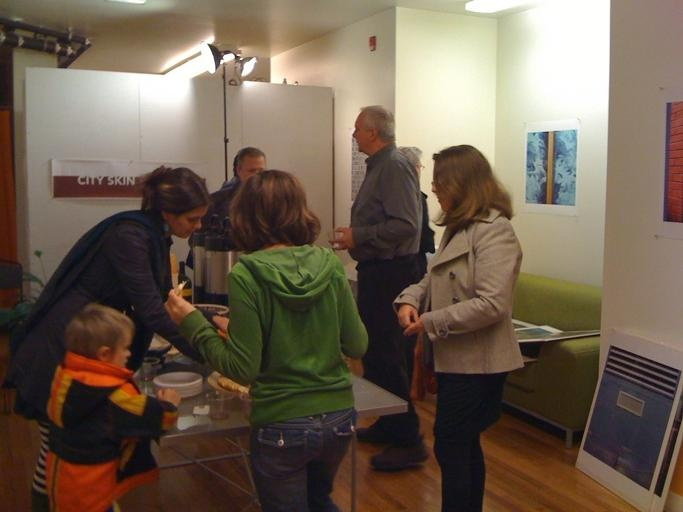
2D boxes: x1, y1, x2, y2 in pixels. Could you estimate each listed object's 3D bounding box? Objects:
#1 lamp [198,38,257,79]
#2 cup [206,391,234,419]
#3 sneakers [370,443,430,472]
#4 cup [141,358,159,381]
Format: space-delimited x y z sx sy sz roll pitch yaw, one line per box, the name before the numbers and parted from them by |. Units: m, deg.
lamp | -1.194 -1.935 5.553 0.353 0.381 0.612 22 22 28
cup | -0.472 0.585 2.149 0.065 0.052 0.068 0 12 0
sneakers | 0.371 1.239 3.461 0.298 0.138 0.151 2 -2 -24
cup | -0.859 0.503 2.469 0.057 0.054 0.066 4 -4 9
